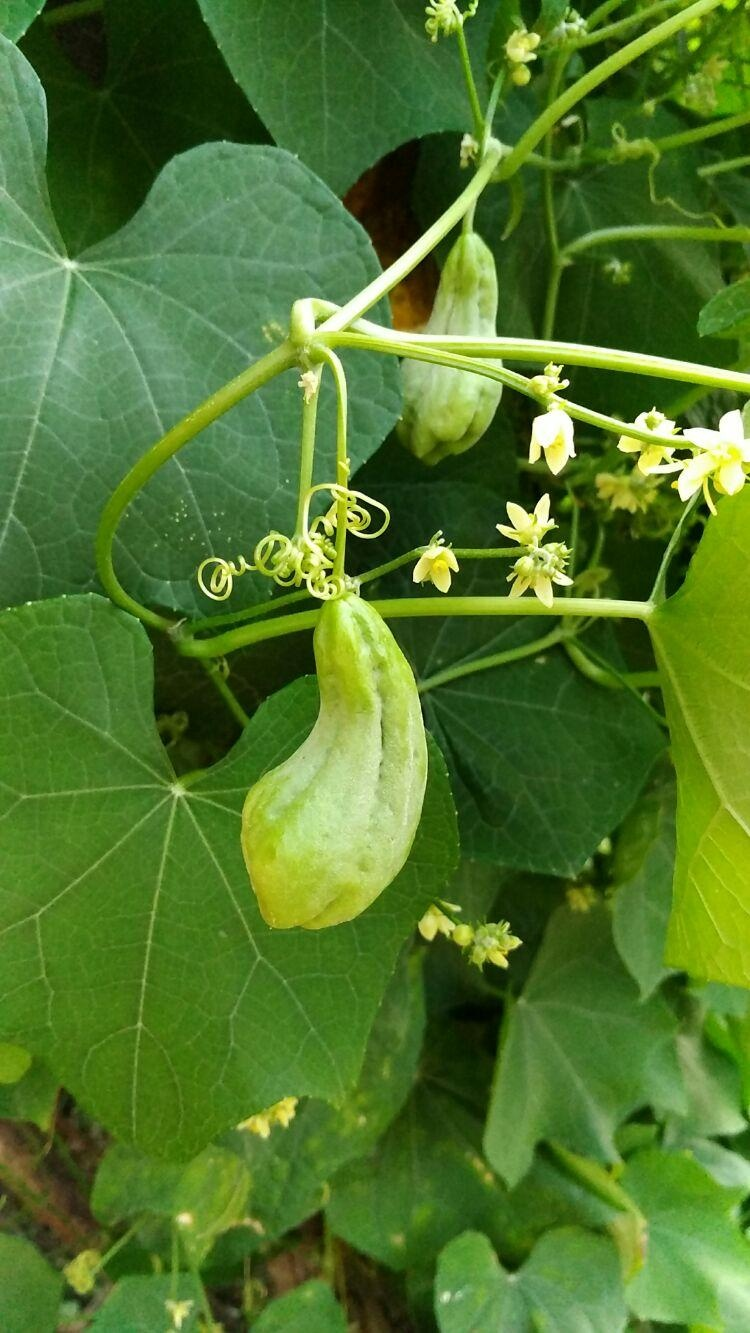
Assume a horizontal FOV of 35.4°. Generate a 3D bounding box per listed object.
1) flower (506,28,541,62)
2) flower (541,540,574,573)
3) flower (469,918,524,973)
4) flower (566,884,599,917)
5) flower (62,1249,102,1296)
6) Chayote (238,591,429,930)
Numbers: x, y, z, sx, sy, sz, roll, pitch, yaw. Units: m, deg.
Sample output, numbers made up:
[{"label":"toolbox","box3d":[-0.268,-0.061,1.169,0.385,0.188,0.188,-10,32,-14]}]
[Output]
[{"label":"flower","box3d":[0.072,-0.304,0.579,0.015,0.014,0.022,1,35,5]},{"label":"flower","box3d":[0.076,-0.048,0.497,0.009,0.012,0.022,11,37,19]},{"label":"flower","box3d":[0.060,0.155,0.650,0.036,0.017,0.035,-16,56,53]},{"label":"flower","box3d":[0.129,0.146,0.735,0.020,0.011,0.013,1,35,5]},{"label":"flower","box3d":[-0.159,0.328,0.637,0.022,0.018,0.006,-60,17,-18]},{"label":"Chayote","box3d":[-0.019,0.033,0.434,0.071,0.120,0.052,1,7,-15]}]
